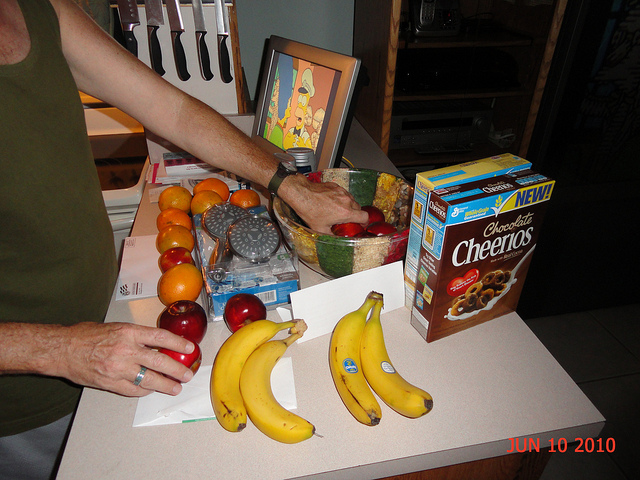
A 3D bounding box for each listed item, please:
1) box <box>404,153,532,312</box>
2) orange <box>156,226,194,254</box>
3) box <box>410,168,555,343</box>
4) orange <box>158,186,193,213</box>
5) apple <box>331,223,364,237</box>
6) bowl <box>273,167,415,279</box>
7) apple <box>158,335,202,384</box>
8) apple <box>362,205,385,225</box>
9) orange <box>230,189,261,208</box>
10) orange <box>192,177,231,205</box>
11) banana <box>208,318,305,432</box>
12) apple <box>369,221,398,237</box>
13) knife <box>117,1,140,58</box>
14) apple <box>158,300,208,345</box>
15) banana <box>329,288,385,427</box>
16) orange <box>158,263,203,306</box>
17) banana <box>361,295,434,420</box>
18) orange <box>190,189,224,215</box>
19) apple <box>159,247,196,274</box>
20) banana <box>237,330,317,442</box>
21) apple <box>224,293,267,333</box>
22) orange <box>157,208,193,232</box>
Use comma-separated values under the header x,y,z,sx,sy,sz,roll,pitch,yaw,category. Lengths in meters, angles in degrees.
x,y,z,sx,sy,sz,roll,pitch,yaw,category
0.352,-0.006,1.041,0.323,0.386,0.124,-19,35,-25,box
-0.418,-0.006,1.273,0.082,0.079,0.084,-2,67,-14,orange
0.382,0.035,1.080,0.319,0.362,0.158,-17,44,-18,box
-0.470,-0.136,1.439,0.099,0.090,0.088,-5,26,-8,orange
0.075,-0.028,1.182,0.055,0.049,0.047,1,6,-9,apple
0.056,-0.138,1.208,0.328,0.167,0.344,-1,27,0,bowl
-0.326,0.272,1.018,0.091,0.092,0.066,-10,43,-12,apple
0.153,-0.074,1.246,0.052,0.054,0.064,-9,30,-4,apple
-0.238,-0.134,1.413,0.068,0.072,0.068,1,22,5,orange
-0.366,-0.184,1.463,0.130,0.115,0.117,-2,19,-16,orange
-0.138,0.340,1.043,0.148,0.078,0.388,-30,10,23,banana
0.168,-0.029,1.167,0.054,0.036,0.035,-5,66,-10,apple
-0.760,-0.847,1.773,0.083,0.209,0.054,-1,41,-1,knife
-0.326,0.193,1.063,0.102,0.103,0.105,-8,21,-3,apple
0.087,0.277,1.039,0.127,0.092,0.319,0,49,-2,banana
-0.367,0.123,1.167,0.102,0.092,0.125,-2,78,-42,orange
0.133,0.273,1.051,0.088,0.184,0.292,0,49,-27,banana
-0.354,-0.120,1.393,0.091,0.093,0.084,-13,5,-15,orange
-0.396,0.047,1.260,0.074,0.080,0.081,2,55,9,apple
-0.111,0.329,1.026,0.192,0.066,0.287,16,32,-18,banana
-0.201,0.189,1.121,0.086,0.100,0.092,7,-3,13,apple
-0.447,-0.066,1.346,0.080,0.074,0.097,-2,63,-19,orange
